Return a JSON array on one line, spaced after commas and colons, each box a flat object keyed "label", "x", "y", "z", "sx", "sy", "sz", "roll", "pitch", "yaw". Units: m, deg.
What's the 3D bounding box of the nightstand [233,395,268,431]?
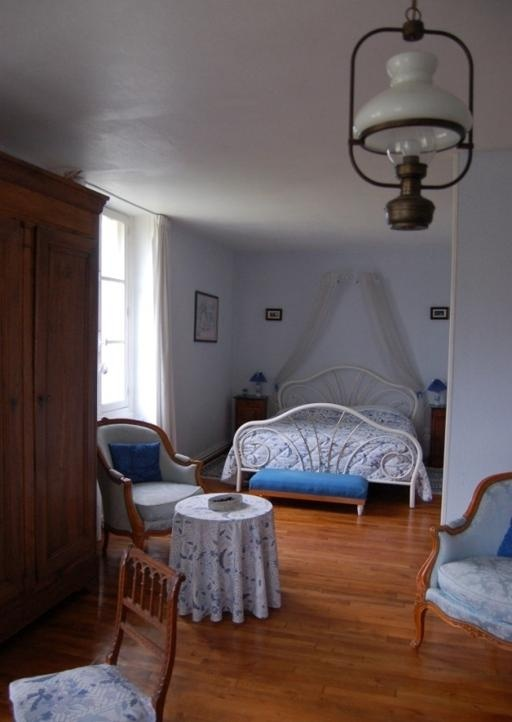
[{"label": "nightstand", "x": -0.034, "y": 0.651, "z": 7.149, "sx": 0.456, "sy": 0.566, "sz": 0.380, "roll": 0, "pitch": 0, "yaw": 14}]

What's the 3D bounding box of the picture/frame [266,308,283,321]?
[{"label": "picture/frame", "x": 0.240, "y": -0.558, "z": 7.313, "sx": 0.270, "sy": 0.189, "sz": 0.137, "roll": 1, "pitch": 1, "yaw": 21}]

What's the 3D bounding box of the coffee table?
[{"label": "coffee table", "x": -0.176, "y": 0.958, "z": 3.109, "sx": 0.634, "sy": 0.553, "sz": 0.646, "roll": 0, "pitch": 1, "yaw": -25}]

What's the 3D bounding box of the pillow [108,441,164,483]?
[{"label": "pillow", "x": -0.816, "y": 0.678, "z": 3.892, "sx": 0.282, "sy": 0.236, "sz": 0.093, "roll": 3, "pitch": -19, "yaw": -35}]

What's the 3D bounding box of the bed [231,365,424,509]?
[{"label": "bed", "x": 0.855, "y": 0.729, "z": 5.868, "sx": 1.400, "sy": 0.902, "sz": 1.579, "roll": 0, "pitch": -2, "yaw": 17}]

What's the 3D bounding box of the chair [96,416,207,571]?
[{"label": "chair", "x": -0.750, "y": 0.805, "z": 3.971, "sx": 0.827, "sy": 1.079, "sz": 0.808, "roll": -3, "pitch": -2, "yaw": 39}]

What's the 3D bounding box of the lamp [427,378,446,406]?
[{"label": "lamp", "x": 2.059, "y": 0.355, "z": 6.688, "sx": 0.279, "sy": 0.335, "sz": 0.292, "roll": 3, "pitch": -2, "yaw": 3}]
